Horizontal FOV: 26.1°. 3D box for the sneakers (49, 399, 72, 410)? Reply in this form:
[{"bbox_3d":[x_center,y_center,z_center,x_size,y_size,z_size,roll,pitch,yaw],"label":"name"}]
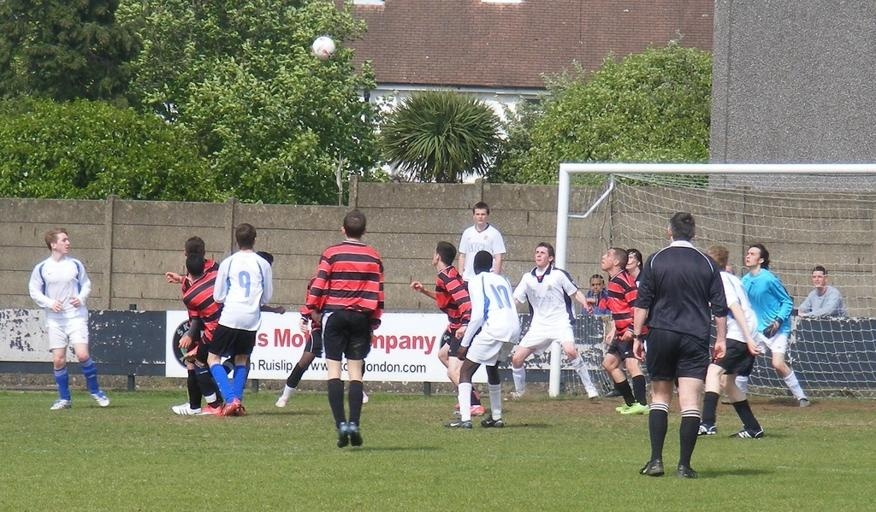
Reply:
[{"bbox_3d":[-10.391,4.106,52.252,0.637,0.238,0.224,1,0,-6],"label":"sneakers"}]

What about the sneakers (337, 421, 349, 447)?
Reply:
[{"bbox_3d":[-2.394,4.599,48.858,0.257,0.638,0.289,0,-3,-14],"label":"sneakers"}]

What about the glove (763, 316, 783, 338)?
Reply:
[{"bbox_3d":[9.377,2.025,52.253,0.346,0.627,0.230,40,7,-28],"label":"glove"}]

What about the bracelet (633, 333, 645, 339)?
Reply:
[{"bbox_3d":[5.252,2.081,48.868,0.229,0.082,0.234,-1,0,44],"label":"bracelet"}]

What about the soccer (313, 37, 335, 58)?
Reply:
[{"bbox_3d":[-3.972,-7.311,68.352,0.831,0.610,0.779,-4,31,-25],"label":"soccer"}]

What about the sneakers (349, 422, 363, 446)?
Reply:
[{"bbox_3d":[-2.057,4.613,48.925,0.262,0.680,0.296,-6,10,2],"label":"sneakers"}]
